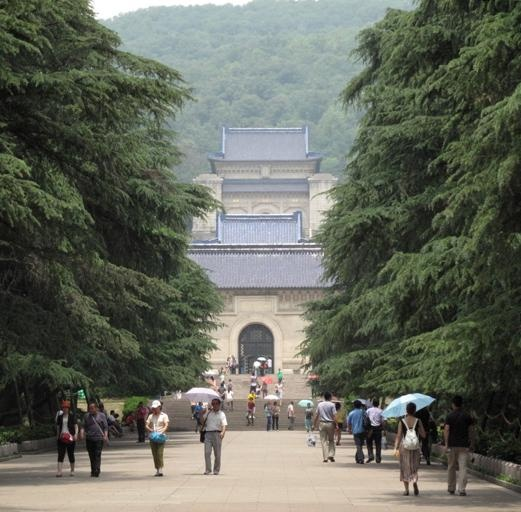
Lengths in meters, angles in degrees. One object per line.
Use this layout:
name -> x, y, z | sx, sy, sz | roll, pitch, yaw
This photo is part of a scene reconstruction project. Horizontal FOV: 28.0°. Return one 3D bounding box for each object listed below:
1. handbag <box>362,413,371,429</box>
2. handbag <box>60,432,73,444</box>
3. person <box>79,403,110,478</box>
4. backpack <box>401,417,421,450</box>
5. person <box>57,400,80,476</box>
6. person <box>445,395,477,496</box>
handbag -> 2.517, 3.957, 24.843 | 0.116, 0.378, 0.303 | -6, 4, 3
handbag -> -3.931, 3.705, 21.223 | 0.196, 0.262, 0.169 | 4, 13, 20
person -> -3.411, 3.788, 21.522 | 0.492, 1.589, 2.043 | 0, -9, -9
backpack -> 2.651, 3.181, 18.404 | 0.333, 0.559, 0.375 | -1, -8, -1
person -> -3.939, 3.748, 21.312 | 0.434, 1.537, 0.989 | 0, -8, -12
person -> 3.516, 3.359, 18.422 | 0.496, 1.744, 0.652 | -3, -8, 11
